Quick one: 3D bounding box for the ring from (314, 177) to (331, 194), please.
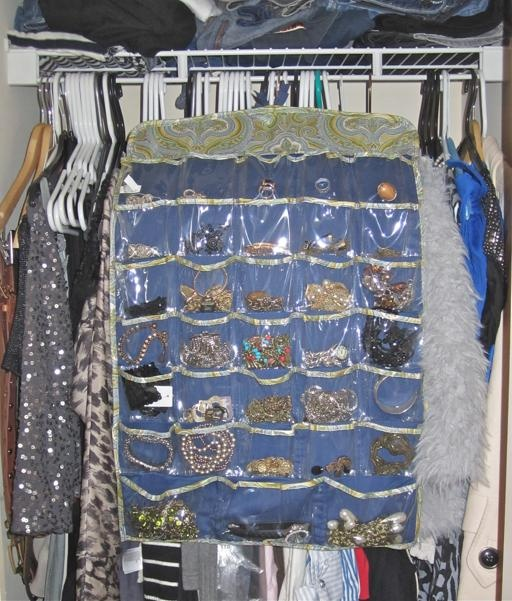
[{"bbox_3d":[0.165,-0.288,2.339,0.038,0.038,0.018,0,6,3],"label":"ring"}]

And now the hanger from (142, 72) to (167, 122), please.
[{"bbox_3d":[-0.276,-0.557,2.538,0.064,0.138,0.129,0,7,-2],"label":"hanger"}]

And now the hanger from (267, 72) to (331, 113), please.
[{"bbox_3d":[0.107,-0.578,2.559,0.171,0.105,0.123,6,9,44],"label":"hanger"}]

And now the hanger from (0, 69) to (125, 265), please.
[{"bbox_3d":[-0.463,-0.360,2.414,0.274,0.449,0.127,0,-1,-5],"label":"hanger"}]

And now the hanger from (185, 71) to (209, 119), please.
[{"bbox_3d":[-0.160,-0.560,2.538,0.077,0.122,0.028,1,11,4],"label":"hanger"}]

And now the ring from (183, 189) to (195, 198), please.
[{"bbox_3d":[-0.166,-0.270,2.343,0.030,0.020,0.014,0,6,3],"label":"ring"}]

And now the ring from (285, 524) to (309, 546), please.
[{"bbox_3d":[0.102,0.565,2.314,0.049,0.052,0.013,3,5,1],"label":"ring"}]
